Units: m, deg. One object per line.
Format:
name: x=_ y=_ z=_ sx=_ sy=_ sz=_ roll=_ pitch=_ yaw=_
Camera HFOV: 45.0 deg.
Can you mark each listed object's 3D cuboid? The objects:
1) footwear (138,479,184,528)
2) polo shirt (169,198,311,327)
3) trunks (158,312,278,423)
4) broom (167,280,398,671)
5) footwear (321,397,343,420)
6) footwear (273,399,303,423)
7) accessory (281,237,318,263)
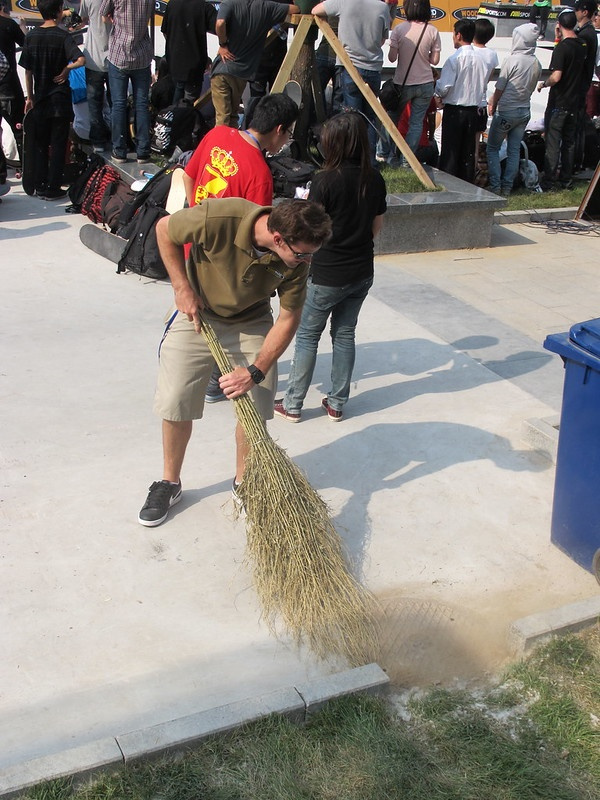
footwear: x=-0.637 y=0.466 z=3.280 sx=0.103 sy=0.108 sz=0.289 roll=22 pitch=17 yaw=2
polo shirt: x=-0.254 y=-0.533 z=2.870 sx=0.530 sy=0.516 sz=0.388 roll=2 pitch=18 yaw=-9
trunks: x=-0.347 y=-0.147 z=3.091 sx=0.393 sy=0.556 sz=0.145 roll=0 pitch=24 yaw=-8
broom: x=-0.158 y=0.321 z=2.903 sx=0.486 sy=0.287 sz=1.467 roll=-22 pitch=64 yaw=-19
footwear: x=0.181 y=0.050 z=4.304 sx=0.070 sy=0.068 sz=0.183 roll=-8 pitch=29 yaw=-17
footwear: x=-0.086 y=0.068 z=4.214 sx=0.074 sy=0.074 sz=0.201 roll=-15 pitch=34 yaw=-37
accessory: x=-0.015 y=-0.530 z=2.560 sx=0.083 sy=0.024 sz=0.078 roll=-7 pitch=55 yaw=-44
